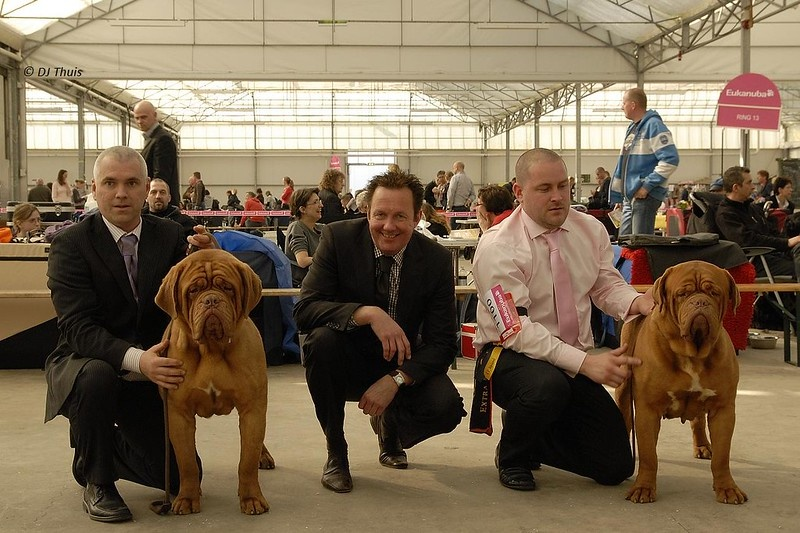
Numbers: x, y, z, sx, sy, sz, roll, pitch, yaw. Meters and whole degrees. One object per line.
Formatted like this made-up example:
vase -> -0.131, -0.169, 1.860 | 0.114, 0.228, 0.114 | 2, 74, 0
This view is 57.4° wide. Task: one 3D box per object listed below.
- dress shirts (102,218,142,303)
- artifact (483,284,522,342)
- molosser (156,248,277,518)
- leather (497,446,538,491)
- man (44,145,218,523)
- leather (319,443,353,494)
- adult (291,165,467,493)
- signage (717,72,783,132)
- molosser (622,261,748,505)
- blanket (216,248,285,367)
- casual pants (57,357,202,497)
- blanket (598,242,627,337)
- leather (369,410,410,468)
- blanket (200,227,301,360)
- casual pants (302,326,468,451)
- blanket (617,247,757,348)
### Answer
dress shirts -> -1.669, -0.037, 4.439 | 0.300, 0.468, 0.128 | -2, 4, -26
artifact -> 0.660, 0.283, 4.653 | 0.193, 0.350, 0.085 | -24, -6, 31
molosser -> -1.109, 0.684, 4.283 | 0.651, 1.566, 0.420 | -3, 9, -16
leather -> 0.763, 1.298, 4.887 | 0.195, 0.259, 0.641 | 3, 1, 0
man -> -1.700, 0.375, 4.631 | 0.961, 2.139, 1.049 | 0, 1, -20
leather -> -0.406, 1.275, 4.669 | 0.201, 0.276, 0.202 | -1, 9, -6
adult -> -0.107, 0.391, 4.908 | 1.178, 2.047, 1.226 | 8, 9, 31
signage -> 4.804, -2.274, 10.050 | 0.818, 0.760, 0.485 | 3, 10, 17
molosser -> 1.736, 0.703, 4.392 | 0.684, 1.460, 0.397 | 4, 10, 27
blanket -> -1.475, 0.439, 7.660 | 0.836, 0.777, 0.907 | -1, -1, 0
casual pants -> -1.597, 0.935, 4.360 | 0.495, 0.900, 0.511 | -27, -31, 36
blanket -> 2.201, 0.254, 7.430 | 0.187, 0.928, 0.856 | 3, 0, 14
leather -> -0.069, 1.212, 5.047 | 0.147, 0.230, 0.459 | -4, 5, -20
blanket -> -1.124, 0.227, 5.620 | 0.726, 0.775, 0.864 | -23, 31, -31
casual pants -> -0.144, 0.773, 4.745 | 0.756, 0.929, 0.900 | 0, -7, -14
blanket -> 3.306, 0.191, 7.738 | 0.956, 0.649, 1.016 | 0, -8, -20
